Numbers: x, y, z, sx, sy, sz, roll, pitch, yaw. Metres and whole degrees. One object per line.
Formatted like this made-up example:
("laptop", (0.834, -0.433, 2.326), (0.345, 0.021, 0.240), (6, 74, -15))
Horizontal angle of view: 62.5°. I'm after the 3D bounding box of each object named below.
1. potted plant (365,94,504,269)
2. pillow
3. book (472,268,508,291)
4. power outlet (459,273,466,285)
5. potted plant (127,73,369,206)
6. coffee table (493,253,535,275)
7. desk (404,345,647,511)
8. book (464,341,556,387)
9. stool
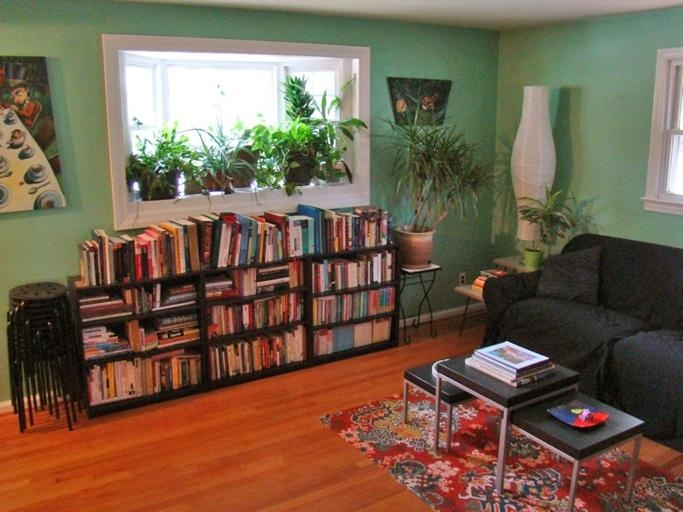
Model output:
("potted plant", (0.933, -0.674, 5.432), (1.193, 1.553, 0.745), (-13, 18, -40))
("pillow", (1.981, 0.141, 4.803), (0.537, 0.478, 0.148), (7, -13, 42))
("book", (1.402, 0.217, 5.311), (0.247, 0.060, 0.237), (-14, 18, -35))
("power outlet", (1.313, 0.243, 6.077), (0.094, 0.134, 0.020), (-10, 16, -31))
("potted plant", (-0.958, -1.062, 5.133), (2.335, 0.910, 0.921), (-6, 22, -22))
("coffee table", (1.717, 0.077, 5.555), (0.202, 0.225, 0.252), (-9, 15, -32))
("desk", (1.199, 1.087, 3.580), (0.735, 0.676, 1.086), (-11, 15, -35))
("book", (1.065, 0.691, 3.635), (0.328, 0.071, 0.302), (-13, 20, -39))
("stool", (-2.167, 0.734, 4.067), (0.497, 1.019, 0.451), (-8, 15, -25))
